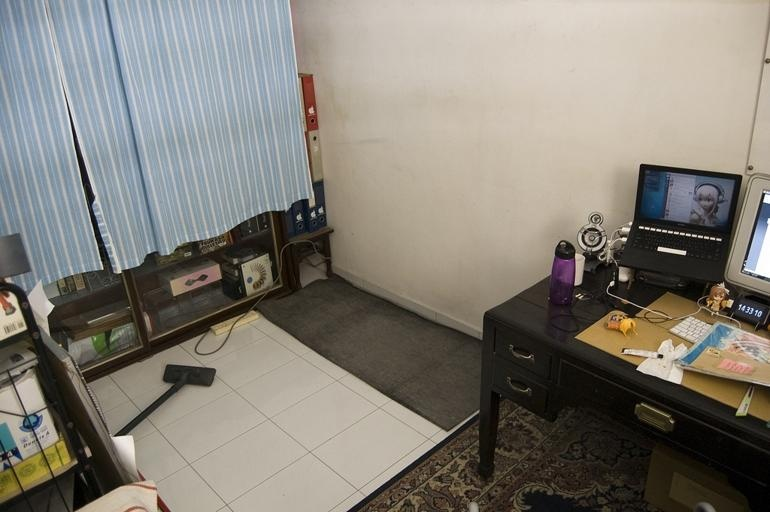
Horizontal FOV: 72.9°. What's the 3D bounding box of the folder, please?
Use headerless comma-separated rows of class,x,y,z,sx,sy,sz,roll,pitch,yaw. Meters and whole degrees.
folder,-0.673,-0.792,4.209,0.407,1.247,0.169,-15,30,-25

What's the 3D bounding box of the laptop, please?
laptop,1.521,-0.105,2.706,0.549,0.403,0.591,17,56,25

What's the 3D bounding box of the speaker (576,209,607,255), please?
speaker,1.149,-0.125,2.858,0.135,0.214,0.143,20,34,36
